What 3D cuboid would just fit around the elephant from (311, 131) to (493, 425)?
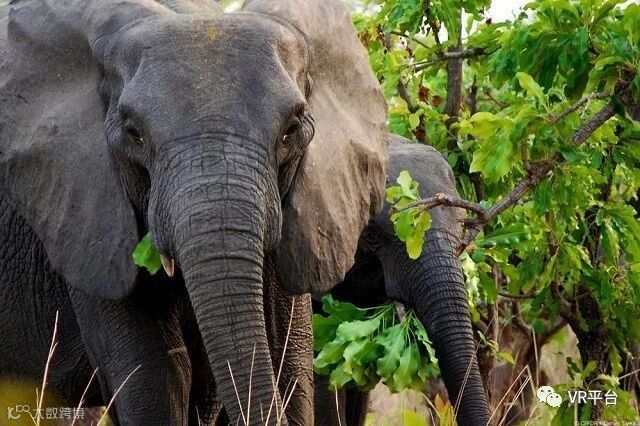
[{"bbox_3d":[0.566,0.460,5.033,0.872,1.449,1.723,2,-22,-14],"label":"elephant"}]
